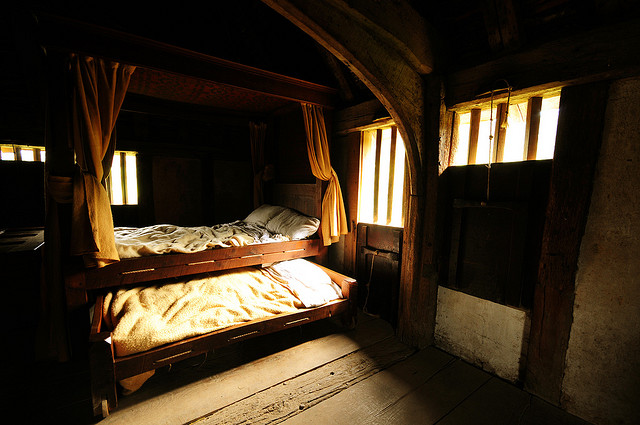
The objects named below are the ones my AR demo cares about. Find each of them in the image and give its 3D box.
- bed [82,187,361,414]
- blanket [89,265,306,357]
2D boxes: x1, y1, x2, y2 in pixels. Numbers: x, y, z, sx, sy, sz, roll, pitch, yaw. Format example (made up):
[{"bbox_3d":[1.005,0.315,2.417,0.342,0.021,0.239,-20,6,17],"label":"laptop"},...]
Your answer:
[{"bbox_3d":[-1.299,1.012,5.698,3.077,2.025,1.664,-3,5,-29],"label":"bed"},{"bbox_3d":[-1.366,1.098,5.236,1.786,0.206,1.054,-1,24,-33],"label":"blanket"}]
